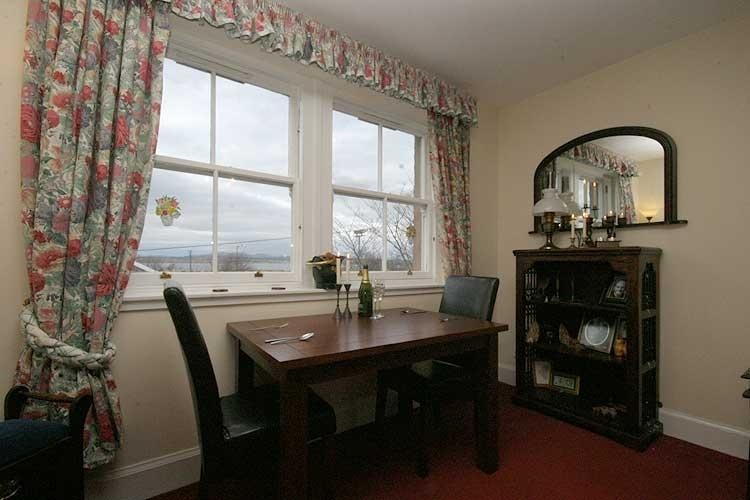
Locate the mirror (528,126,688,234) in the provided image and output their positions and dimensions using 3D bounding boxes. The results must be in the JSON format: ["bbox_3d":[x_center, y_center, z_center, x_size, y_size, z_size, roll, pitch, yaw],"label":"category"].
[{"bbox_3d":[1.867,-0.559,4.233,1.138,0.783,0.722,-5,-3,37],"label":"mirror"}]

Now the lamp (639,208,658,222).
[{"bbox_3d":[2.180,-0.273,4.045,0.108,0.122,0.105,2,-4,16],"label":"lamp"}]

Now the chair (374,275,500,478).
[{"bbox_3d":[0.429,0.772,3.654,0.692,1.416,0.883,-18,-37,42],"label":"chair"}]

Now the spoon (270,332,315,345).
[{"bbox_3d":[-0.524,0.558,3.142,0.317,0.052,0.081,-1,2,-20],"label":"spoon"}]

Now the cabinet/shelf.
[{"bbox_3d":[1.725,0.704,4.166,1.094,1.461,0.462,2,2,41],"label":"cabinet/shelf"}]

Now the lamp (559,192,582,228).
[{"bbox_3d":[1.732,-0.368,4.483,0.181,0.246,0.179,-12,-2,39],"label":"lamp"}]

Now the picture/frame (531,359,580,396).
[{"bbox_3d":[1.540,1.114,4.378,0.357,0.236,0.085,5,-16,31],"label":"picture/frame"}]

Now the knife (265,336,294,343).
[{"bbox_3d":[-0.579,0.559,3.128,0.168,0.013,0.055,-1,7,-39],"label":"knife"}]

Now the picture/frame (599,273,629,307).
[{"bbox_3d":[1.954,0.320,4.146,0.168,0.224,0.178,1,2,32],"label":"picture/frame"}]
